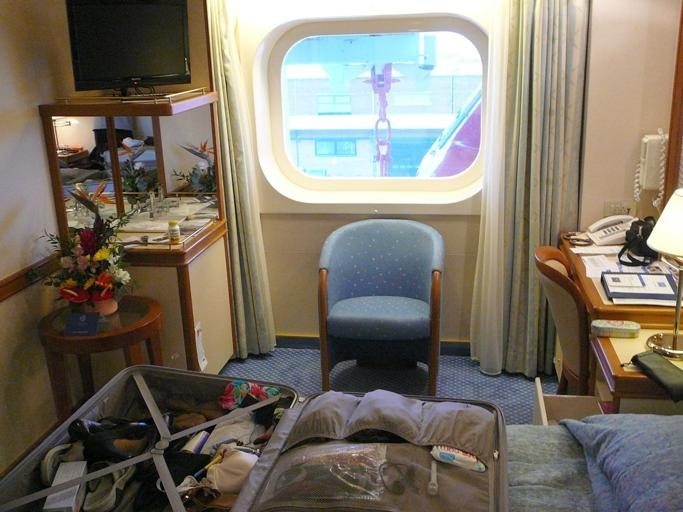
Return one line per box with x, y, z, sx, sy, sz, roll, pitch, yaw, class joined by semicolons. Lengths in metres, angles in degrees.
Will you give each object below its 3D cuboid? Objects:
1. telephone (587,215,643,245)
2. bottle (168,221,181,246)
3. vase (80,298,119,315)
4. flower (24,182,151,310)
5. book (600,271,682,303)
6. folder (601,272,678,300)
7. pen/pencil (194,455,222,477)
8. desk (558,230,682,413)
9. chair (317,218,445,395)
1.616;-0.154;3.223;0.232;0.103;0.180;-8;35;21;telephone
-0.990;-0.146;3.168;0.064;0.131;0.154;-5;17;-15;bottle
-1.314;0.273;2.895;0.118;0.089;0.122;4;16;10;vase
-1.373;-0.004;3.229;0.558;0.855;0.743;1;0;15;flower
1.483;0.150;2.664;0.197;0.051;0.206;1;19;15;book
1.483;0.147;2.666;0.192;0.048;0.199;3;18;18;folder
-0.495;0.772;1.967;0.017;0.018;0.121;11;23;30;pen/pencil
1.326;0.330;2.541;0.238;0.340;0.839;1;27;10;desk
0.247;0.339;3.531;0.818;1.100;0.850;-1;8;-8;chair
